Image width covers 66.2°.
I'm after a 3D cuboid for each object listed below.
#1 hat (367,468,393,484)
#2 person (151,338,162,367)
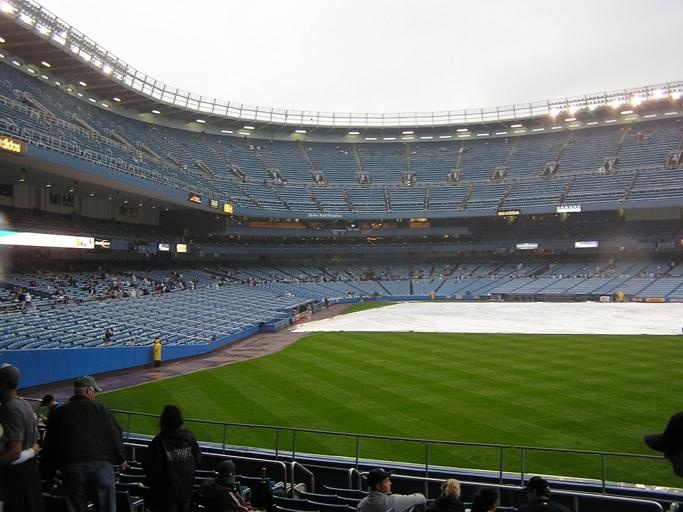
[{"bbox_3d":[0.675,4.202,9.871,0.413,0.286,0.275,1,-6,-1],"label":"hat"},{"bbox_3d":[-9.389,4.929,26.640,0.481,1.352,1.311,4,-7,-18],"label":"person"}]
